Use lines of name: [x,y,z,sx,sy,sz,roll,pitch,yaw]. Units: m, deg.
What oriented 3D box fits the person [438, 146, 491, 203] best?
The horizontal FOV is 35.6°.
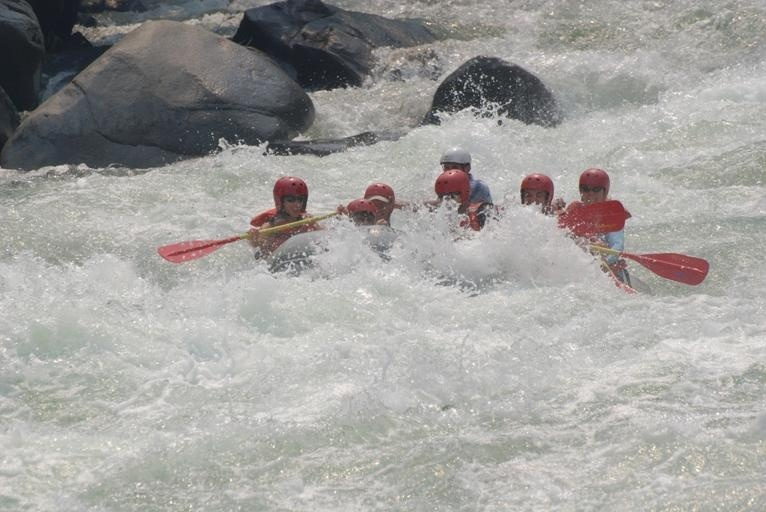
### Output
person: [1.247,-1.194,17.572,0.784,0.855,0.838,-14,34,12]
